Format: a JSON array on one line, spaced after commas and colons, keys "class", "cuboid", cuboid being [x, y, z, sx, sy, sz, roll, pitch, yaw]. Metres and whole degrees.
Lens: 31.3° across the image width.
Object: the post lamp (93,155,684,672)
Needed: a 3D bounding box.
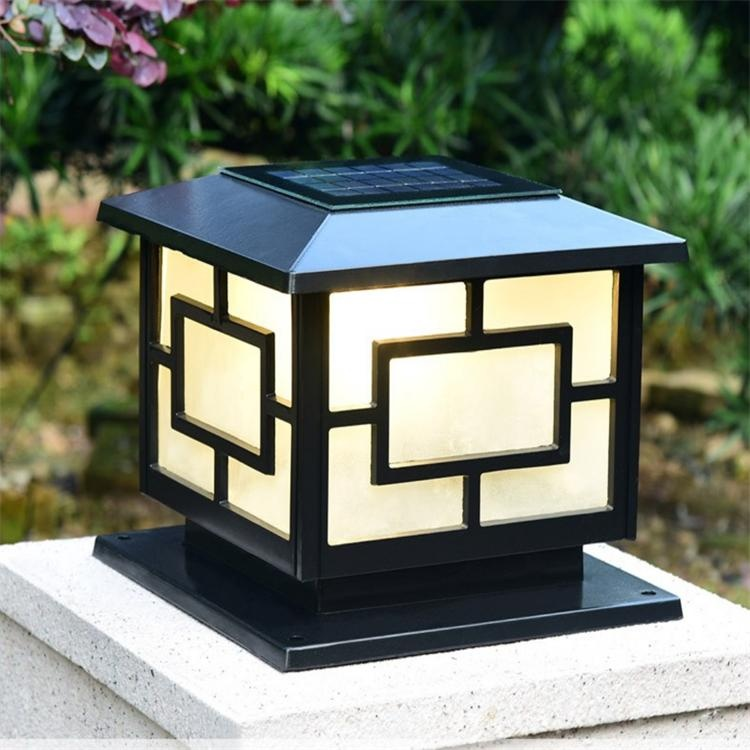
[{"class": "post lamp", "cuboid": [0.001, 0.005, 1.554, 0.557, 0.474, 0.552, -4, 11, -23]}]
